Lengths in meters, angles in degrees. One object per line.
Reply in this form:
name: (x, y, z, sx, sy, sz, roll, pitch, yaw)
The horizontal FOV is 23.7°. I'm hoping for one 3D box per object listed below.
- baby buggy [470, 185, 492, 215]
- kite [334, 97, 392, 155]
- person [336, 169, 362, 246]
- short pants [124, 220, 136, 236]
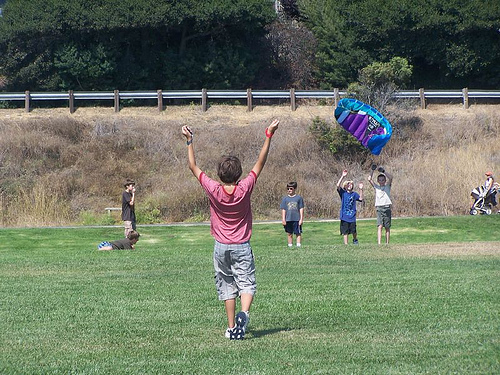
baby buggy: (13.037, 0.924, 67.463, 1.214, 2.184, 1.346, 3, 1, 8)
kite: (5.830, -3.083, 61.794, 1.214, 2.920, 3.054, -4, 5, -43)
person: (4.869, 1.192, 59.673, 1.053, 3.867, 1.001, 2, 5, 1)
short pants: (-6.013, 2.236, 59.045, 0.545, 0.864, 1.102, -1, 4, -7)
